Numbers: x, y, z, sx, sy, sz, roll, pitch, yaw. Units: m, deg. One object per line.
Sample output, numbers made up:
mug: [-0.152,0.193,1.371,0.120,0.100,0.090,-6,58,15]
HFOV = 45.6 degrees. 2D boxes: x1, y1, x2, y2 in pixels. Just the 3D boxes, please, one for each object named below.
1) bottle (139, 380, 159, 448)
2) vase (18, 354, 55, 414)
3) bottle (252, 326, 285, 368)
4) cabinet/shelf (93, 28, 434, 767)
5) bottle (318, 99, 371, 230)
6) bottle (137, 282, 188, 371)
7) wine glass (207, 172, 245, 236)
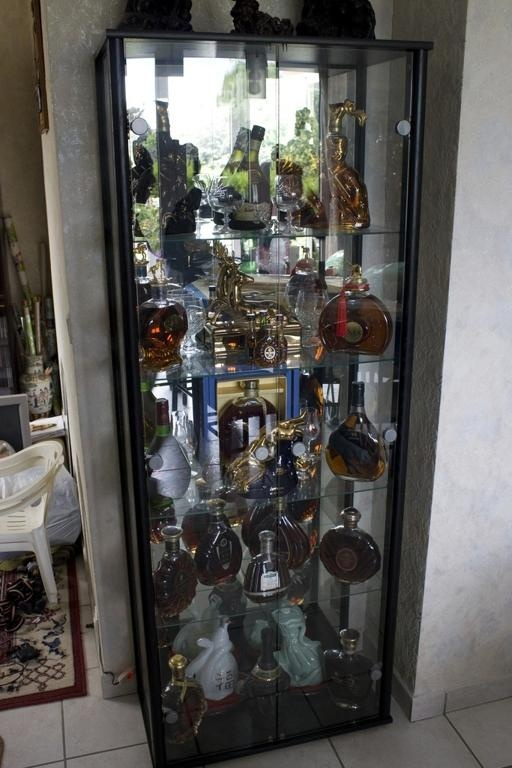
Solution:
bottle: [-0.230,0.065,1.315,0.016,0.143,0.041,9,16,38]
vase: [-1.443,0.021,4.059,0.212,0.429,0.163,-8,15,-32]
bottle: [0.034,-0.080,1.378,0.074,0.087,0.010,-5,13,-19]
cabinet/shelf: [0.066,0.172,1.405,0.712,1.732,0.220,-4,13,-18]
bottle: [0.201,-0.476,1.338,0.106,0.269,0.040,-1,12,-1]
bottle: [-0.198,-0.119,1.291,0.033,0.186,0.114,11,17,43]
wine glass: [-0.070,-0.364,1.275,0.078,0.131,0.085,-2,23,-6]
